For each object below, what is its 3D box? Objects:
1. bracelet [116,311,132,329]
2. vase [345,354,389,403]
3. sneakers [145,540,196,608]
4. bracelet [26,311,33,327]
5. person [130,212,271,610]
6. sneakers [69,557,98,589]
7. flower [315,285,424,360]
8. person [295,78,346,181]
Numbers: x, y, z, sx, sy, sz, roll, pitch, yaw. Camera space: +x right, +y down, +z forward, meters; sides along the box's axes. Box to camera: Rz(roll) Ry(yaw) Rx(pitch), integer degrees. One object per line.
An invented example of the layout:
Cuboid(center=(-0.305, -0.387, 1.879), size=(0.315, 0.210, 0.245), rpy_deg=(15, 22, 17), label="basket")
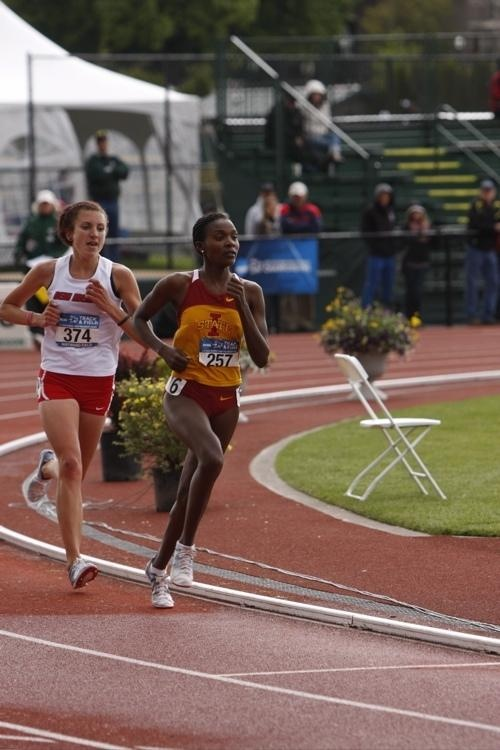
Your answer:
Cuboid(center=(-0.598, -0.263, 4.856), size=(0.065, 0.017, 0.063), rpy_deg=(-31, 11, 28), label="bracelet")
Cuboid(center=(1.369, 0.021, 11.448), size=(0.599, 0.612, 0.524), rpy_deg=(-2, 6, -3), label="vase")
Cuboid(center=(-0.354, 0.895, 4.660), size=(0.147, 0.157, 0.396), rpy_deg=(13, 16, -25), label="sneakers")
Cuboid(center=(-1.069, -0.269, 4.904), size=(0.043, 0.074, 0.062), rpy_deg=(0, -5, -2), label="bracelet")
Cuboid(center=(-0.219, 0.161, 4.556), size=(0.605, 1.793, 0.576), rpy_deg=(-1, 3, -1), label="person")
Cuboid(center=(-0.776, 0.924, 4.715), size=(0.113, 0.145, 0.125), rpy_deg=(-2, 3, -17), label="sneakers")
Cuboid(center=(1.274, -0.662, 11.639), size=(1.106, 0.670, 1.088), rpy_deg=(5, 1, -23), label="flower")
Cuboid(center=(1.388, -4.870, 20.256), size=(1.338, 1.712, 0.795), rpy_deg=(3, -2, -1), label="person")
